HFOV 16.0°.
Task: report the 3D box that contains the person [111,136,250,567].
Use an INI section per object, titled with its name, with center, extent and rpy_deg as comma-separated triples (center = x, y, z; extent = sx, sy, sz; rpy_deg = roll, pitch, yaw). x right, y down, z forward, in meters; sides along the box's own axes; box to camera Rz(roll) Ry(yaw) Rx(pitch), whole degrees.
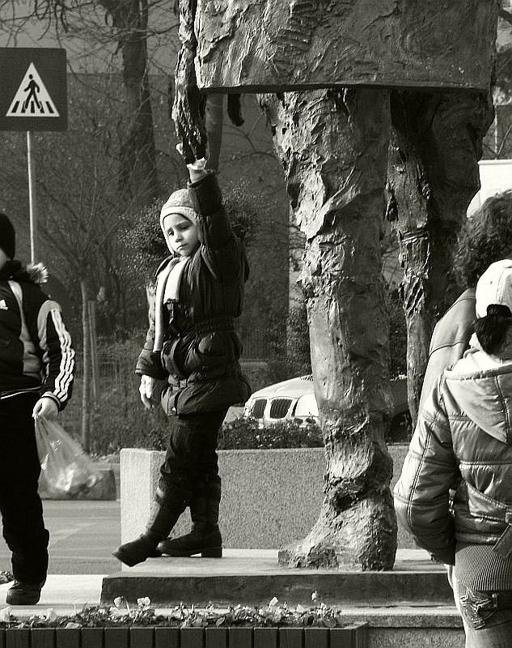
[person]
center = -0.291, 0.163, 7.370
extent = 0.535, 1.664, 0.842
rpy_deg = -3, 8, 0

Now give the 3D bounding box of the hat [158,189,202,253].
[hat]
center = -0.330, -0.419, 7.468
extent = 0.155, 0.250, 0.235
rpy_deg = -22, 6, 15
